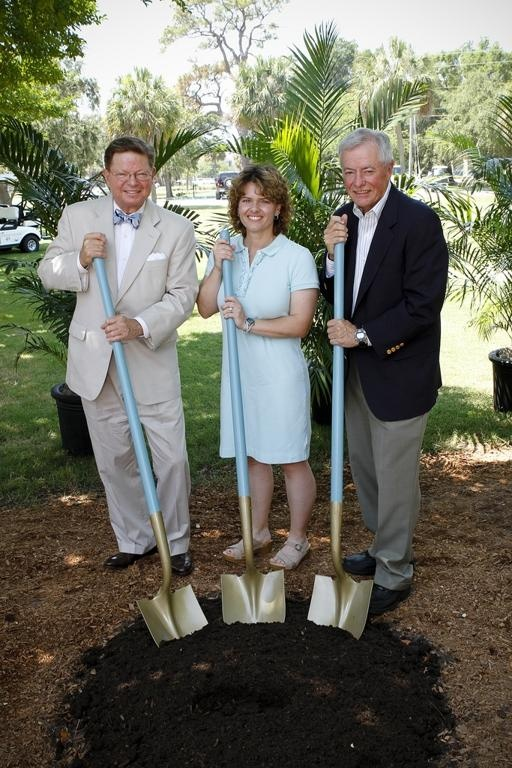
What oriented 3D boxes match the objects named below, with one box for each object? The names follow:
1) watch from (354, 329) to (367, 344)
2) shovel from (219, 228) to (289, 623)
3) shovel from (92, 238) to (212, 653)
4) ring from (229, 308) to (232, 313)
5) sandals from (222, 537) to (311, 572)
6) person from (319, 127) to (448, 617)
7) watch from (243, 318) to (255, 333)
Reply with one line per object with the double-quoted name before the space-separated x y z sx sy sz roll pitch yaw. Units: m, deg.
"watch" 0.404 -0.183 2.259 0.039 0.058 0.056 -10 12 16
"shovel" -0.036 0.334 2.455 0.258 1.198 0.395 -3 9 1
"shovel" -0.388 0.402 2.400 0.267 1.149 0.491 -5 9 -14
"ring" -0.104 -0.310 2.451 0.011 0.013 0.006 -6 -9 41
"sandals" 0.102 0.824 2.873 0.178 0.112 0.358 -2 -3 43
"person" 0.531 -0.010 2.464 0.451 1.919 0.526 -2 9 6
"watch" -0.032 -0.250 2.499 0.042 0.054 0.054 -1 -22 -8
